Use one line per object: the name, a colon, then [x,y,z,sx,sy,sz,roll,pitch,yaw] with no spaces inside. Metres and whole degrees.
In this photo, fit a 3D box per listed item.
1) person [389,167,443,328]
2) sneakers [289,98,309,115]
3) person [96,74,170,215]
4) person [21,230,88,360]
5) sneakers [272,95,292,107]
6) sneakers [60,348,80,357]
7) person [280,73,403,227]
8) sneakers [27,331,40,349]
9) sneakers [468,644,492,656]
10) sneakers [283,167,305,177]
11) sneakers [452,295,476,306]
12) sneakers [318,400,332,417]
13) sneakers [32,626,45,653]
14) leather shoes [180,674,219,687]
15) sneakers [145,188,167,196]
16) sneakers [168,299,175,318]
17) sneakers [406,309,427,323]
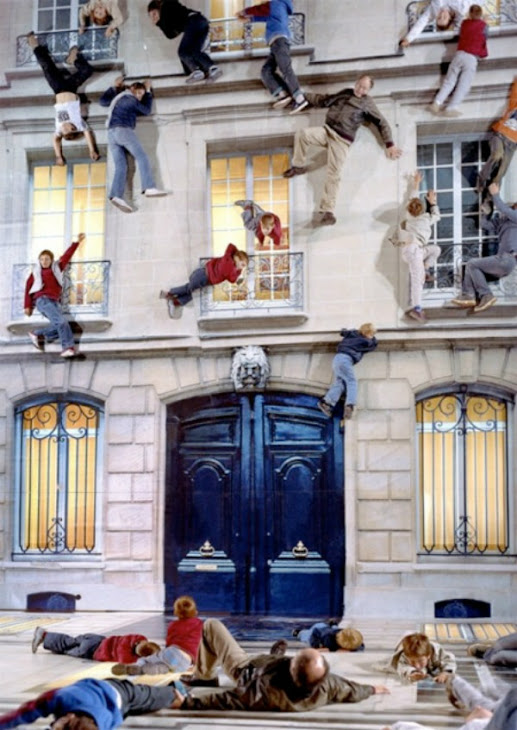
person: [0.960,-0.743,10.472,0.307,0.954,0.110,-2,-9,5]
sneakers: [0.258,-1.633,10.644,0.058,0.055,0.148,-7,-7,-32]
person: [-0.761,-1.401,10.815,0.384,0.853,0.101,0,-9,-4]
person: [-1.293,-0.433,10.772,0.387,0.795,0.149,-7,-11,31]
sneakers: [0.148,-1.657,10.645,0.120,0.049,0.049,-16,-26,34]
sneakers: [-1.176,-0.077,10.686,0.119,0.047,0.059,5,-6,12]
person: [0.521,-1.320,10.593,0.703,0.899,0.211,-5,-10,23]
sneakers: [-1.417,-0.157,10.822,0.055,0.139,0.042,-19,1,20]
sneakers: [1.323,1.710,10.157,0.069,0.057,0.163,2,4,41]
sneakers: [0.224,-1.213,10.625,0.154,0.057,0.067,-7,-3,10]
sneakers: [1.259,-0.405,10.422,0.150,0.071,0.055,1,0,7]
sneakers: [0.417,0.269,10.519,0.056,0.047,0.137,-11,21,5]
sneakers: [-1.322,1.661,10.289,0.072,0.176,0.058,-1,-22,13]
leather shoes: [-0.334,1.840,9.853,0.218,0.091,0.080,2,-12,13]
sneakers: [-0.649,-1.099,10.755,0.161,0.068,0.053,-4,11,-7]
sneakers: [-0.537,-0.365,10.739,0.046,0.116,0.037,-3,6,33]
sneakers: [0.964,-0.307,10.430,0.121,0.096,0.050,-2,-10,5]
